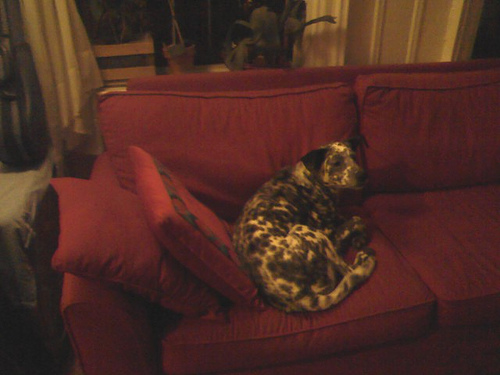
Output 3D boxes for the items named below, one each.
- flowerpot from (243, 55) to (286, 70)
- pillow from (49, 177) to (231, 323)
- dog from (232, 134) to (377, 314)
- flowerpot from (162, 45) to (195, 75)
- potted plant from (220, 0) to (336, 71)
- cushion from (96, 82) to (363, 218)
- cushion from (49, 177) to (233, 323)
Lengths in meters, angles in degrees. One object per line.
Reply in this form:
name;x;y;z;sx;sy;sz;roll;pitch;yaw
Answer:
flowerpot;0.078;-0.668;2.607;0.225;0.055;0.138;0;26;7
pillow;-0.427;0.258;1.854;0.518;0.173;0.587;21;33;-38
dog;0.212;0.144;1.956;0.574;0.513;0.464;-4;24;-2
flowerpot;-0.389;-0.719;2.729;0.139;0.149;0.146;-11;25;-18
potted plant;0.150;-0.804;2.620;0.572;0.386;0.575;-3;25;1
cushion;-0.087;-0.233;2.141;0.926;0.653;0.275;-7;2;-9
cushion;-0.428;0.280;1.880;0.574;0.178;0.530;19;44;-41
